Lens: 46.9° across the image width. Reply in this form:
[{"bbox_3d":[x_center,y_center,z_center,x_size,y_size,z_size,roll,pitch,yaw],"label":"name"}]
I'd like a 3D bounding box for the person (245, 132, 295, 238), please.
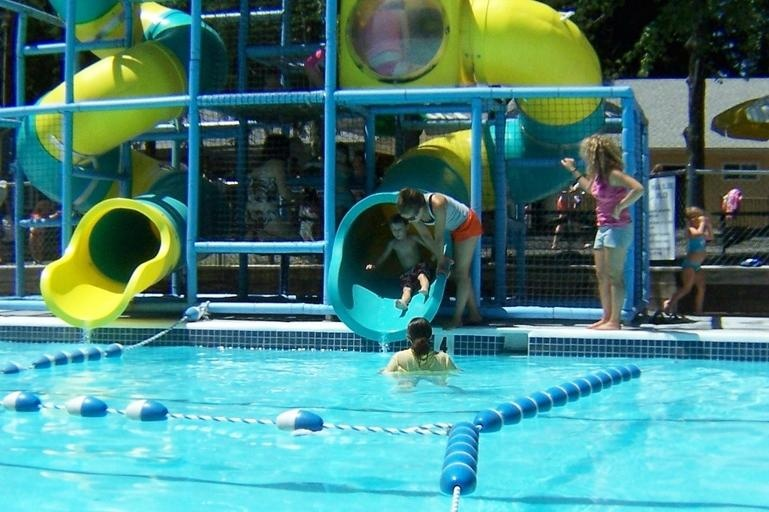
[{"bbox_3d":[-1.436,-0.864,11.056,0.546,1.310,0.342,1,0,-9],"label":"person"}]

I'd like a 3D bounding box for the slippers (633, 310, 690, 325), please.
[{"bbox_3d":[3.111,0.726,10.060,0.681,0.208,0.237,-3,2,7],"label":"slippers"}]

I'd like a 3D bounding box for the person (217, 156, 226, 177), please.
[{"bbox_3d":[-2.100,-1.149,11.526,0.153,0.263,0.928,1,0,-11],"label":"person"}]

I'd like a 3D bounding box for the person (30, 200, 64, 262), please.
[{"bbox_3d":[-5.203,-0.361,13.728,0.633,0.987,0.283,12,12,31],"label":"person"}]

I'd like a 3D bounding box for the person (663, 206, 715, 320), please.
[{"bbox_3d":[3.760,0.056,10.996,0.531,1.319,1.849,1,0,20],"label":"person"}]

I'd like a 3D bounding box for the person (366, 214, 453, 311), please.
[{"bbox_3d":[0.215,0.013,9.640,0.922,0.679,1.493,-15,19,2],"label":"person"}]

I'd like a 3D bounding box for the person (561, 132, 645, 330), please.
[{"bbox_3d":[2.343,-0.238,9.293,0.727,2.028,0.473,1,0,29],"label":"person"}]

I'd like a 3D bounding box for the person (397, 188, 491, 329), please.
[{"bbox_3d":[0.649,0.044,9.496,0.516,1.464,1.348,1,0,33],"label":"person"}]
